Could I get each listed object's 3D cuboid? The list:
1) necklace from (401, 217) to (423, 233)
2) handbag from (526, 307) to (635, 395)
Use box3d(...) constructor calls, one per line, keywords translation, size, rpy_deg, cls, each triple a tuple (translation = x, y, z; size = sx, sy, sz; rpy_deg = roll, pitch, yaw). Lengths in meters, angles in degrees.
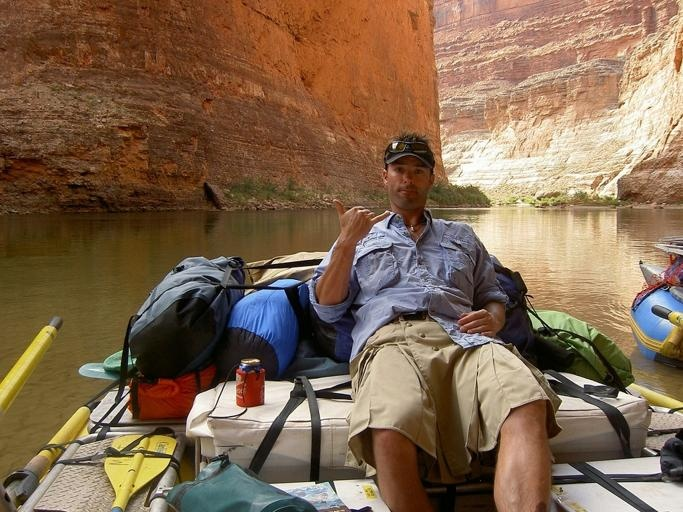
box3d(translation=(0.389, -0.156, 2.599), size=(0.078, 0.033, 0.095), rpy_deg=(-2, 35, 0), cls="necklace")
box3d(translation=(1.383, 0.546, 2.841), size=(0.641, 0.200, 0.434), rpy_deg=(30, 23, 26), cls="handbag")
